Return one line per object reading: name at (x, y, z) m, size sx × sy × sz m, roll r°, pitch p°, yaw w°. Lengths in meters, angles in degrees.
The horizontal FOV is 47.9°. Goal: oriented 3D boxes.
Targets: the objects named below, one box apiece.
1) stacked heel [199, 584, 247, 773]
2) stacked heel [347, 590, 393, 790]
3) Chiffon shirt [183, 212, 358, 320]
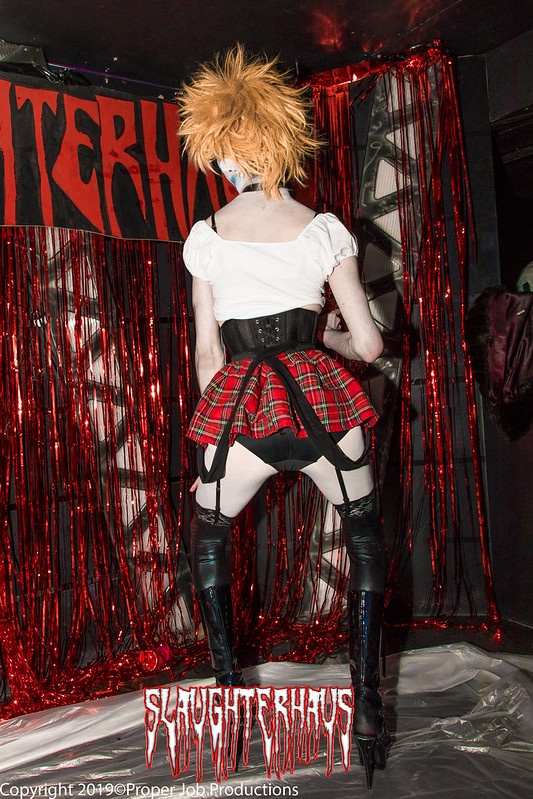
stacked heel at (-0.102, 0.622, 1.318) m, size 0.090 × 0.434 × 0.210 m, roll -1°, pitch -6°, yaw -7°
stacked heel at (0.221, 0.621, 1.285) m, size 0.075 × 0.426 × 0.196 m, roll -4°, pitch -6°, yaw 16°
Chiffon shirt at (0.010, -0.281, 1.315) m, size 0.362 × 0.233 × 0.185 m, roll -1°, pitch 10°, yaw 31°
